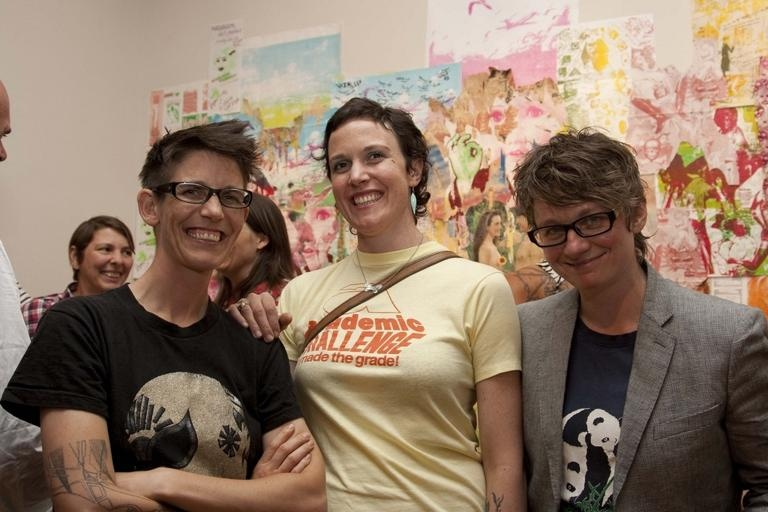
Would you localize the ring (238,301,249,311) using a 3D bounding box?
[{"bbox_3d":[-0.635,0.224,2.625,0.039,0.011,0.041,-34,10,7],"label":"ring"}]

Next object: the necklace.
[{"bbox_3d":[-0.060,0.025,2.833,0.288,0.282,0.077,2,4,10],"label":"necklace"}]

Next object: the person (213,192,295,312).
[{"bbox_3d":[-0.763,0.014,3.854,0.603,0.825,0.808,7,-7,-15],"label":"person"}]
